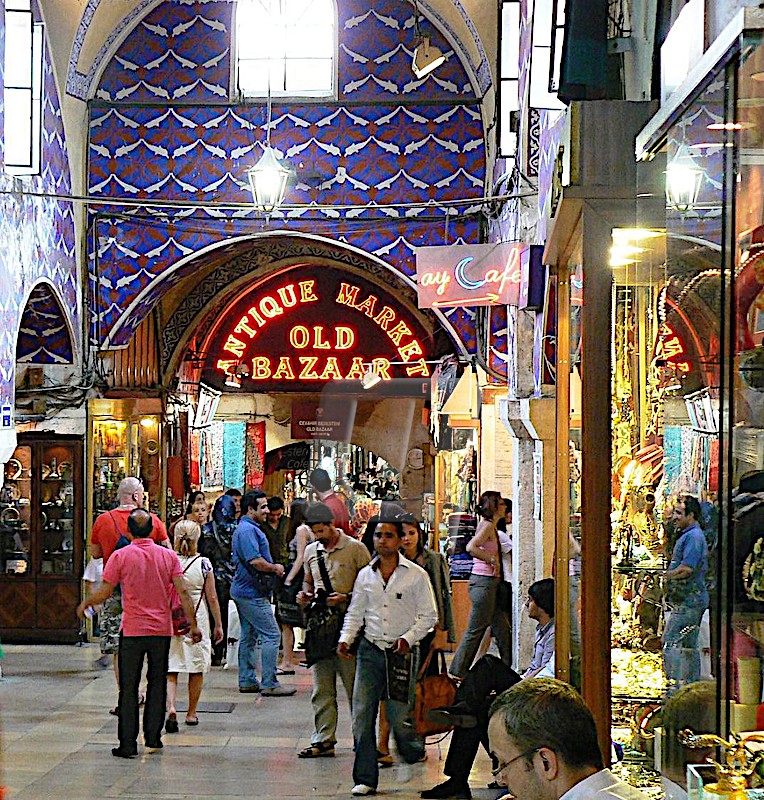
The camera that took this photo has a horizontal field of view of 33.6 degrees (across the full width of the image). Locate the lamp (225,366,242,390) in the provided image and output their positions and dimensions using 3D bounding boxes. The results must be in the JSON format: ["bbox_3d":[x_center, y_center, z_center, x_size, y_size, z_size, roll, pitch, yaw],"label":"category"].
[{"bbox_3d":[-2.281,-0.363,19.849,0.340,0.352,0.243,3,0,35],"label":"lamp"}]

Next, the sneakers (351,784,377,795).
[{"bbox_3d":[-0.084,2.041,6.616,0.139,0.064,0.130,2,-5,-11],"label":"sneakers"}]

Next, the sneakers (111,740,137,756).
[{"bbox_3d":[-1.506,2.071,7.452,0.141,0.082,0.098,2,-5,-12],"label":"sneakers"}]

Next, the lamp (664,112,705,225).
[{"bbox_3d":[0.711,-0.535,2.945,0.102,0.109,0.274,11,-45,16],"label":"lamp"}]

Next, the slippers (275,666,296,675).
[{"bbox_3d":[-0.822,2.367,11.095,0.132,0.098,0.074,4,-1,-7],"label":"slippers"}]

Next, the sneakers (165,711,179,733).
[{"bbox_3d":[-1.372,2.127,8.315,0.052,0.164,0.072,1,36,-3],"label":"sneakers"}]

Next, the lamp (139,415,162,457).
[{"bbox_3d":[-2.928,0.451,16.210,0.151,0.499,0.535,0,-5,10],"label":"lamp"}]

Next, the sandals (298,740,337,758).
[{"bbox_3d":[-0.381,2.115,7.661,0.234,0.101,0.089,4,-4,-9],"label":"sandals"}]

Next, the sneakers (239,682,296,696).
[{"bbox_3d":[-0.904,2.285,9.890,0.411,0.162,0.154,-3,-5,11],"label":"sneakers"}]
